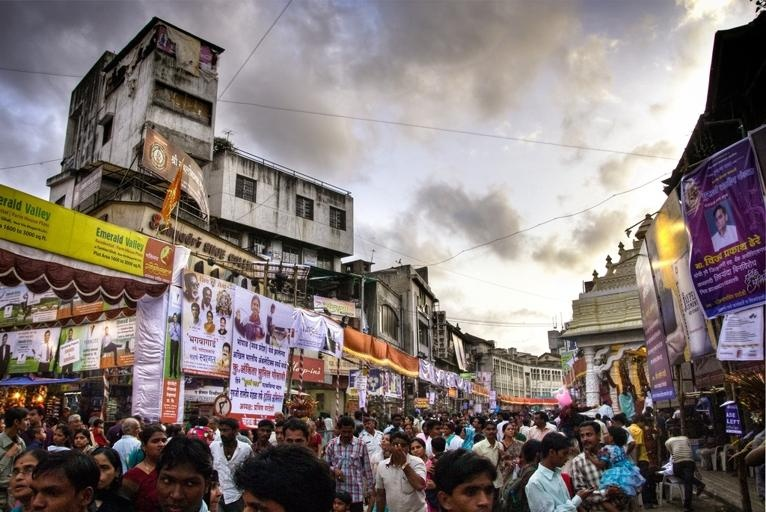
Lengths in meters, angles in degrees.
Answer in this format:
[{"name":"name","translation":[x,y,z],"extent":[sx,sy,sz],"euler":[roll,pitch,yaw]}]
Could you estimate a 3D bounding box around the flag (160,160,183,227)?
[{"name":"flag","translation":[-6.908,-2.114,17.803],"extent":[0.121,1.390,0.357],"euler":[19,6,39]}]
